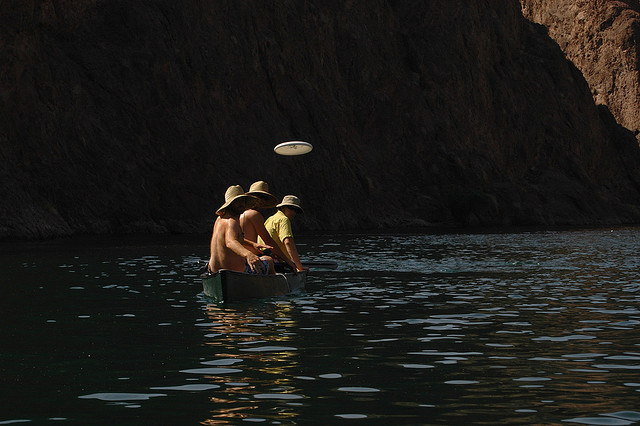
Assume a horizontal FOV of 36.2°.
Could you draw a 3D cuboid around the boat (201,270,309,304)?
[{"bbox_3d":[-2.094,2.082,29.397,3.046,0.796,4.621,-2,-2,16],"label":"boat"}]
